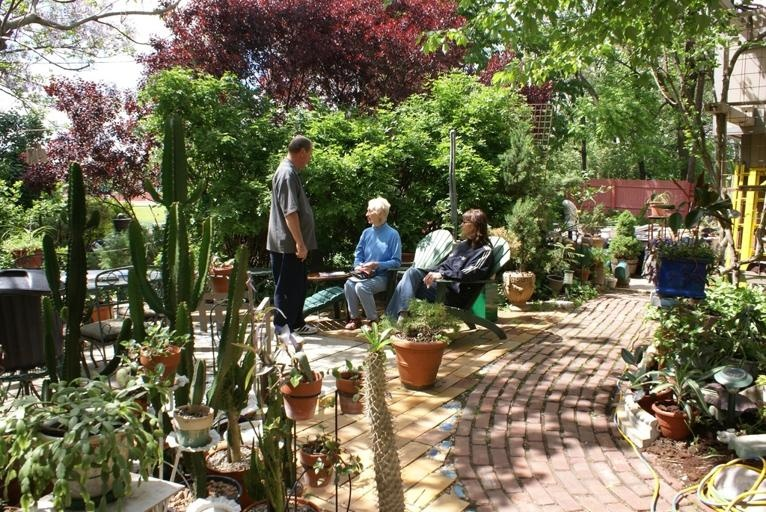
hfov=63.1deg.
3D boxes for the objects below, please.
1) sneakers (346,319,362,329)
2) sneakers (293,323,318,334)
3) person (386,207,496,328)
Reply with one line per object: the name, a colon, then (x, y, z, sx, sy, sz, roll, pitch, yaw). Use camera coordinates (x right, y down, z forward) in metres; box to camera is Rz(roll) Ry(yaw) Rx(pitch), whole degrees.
sneakers: (-0.351, 0.813, 7.503, 0.172, 0.120, 0.447, 0, -3, 5)
sneakers: (-0.899, 0.820, 7.200, 0.295, 0.125, 0.108, 2, 10, -31)
person: (0.592, 0.168, 7.149, 0.859, 1.192, 1.221, 5, 4, 39)
